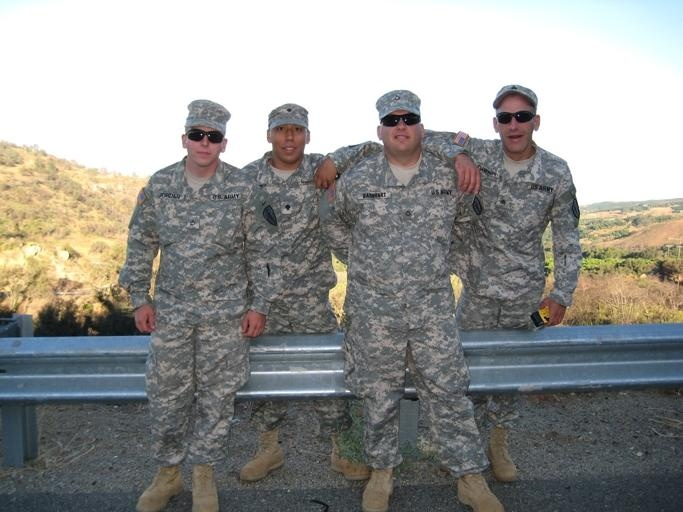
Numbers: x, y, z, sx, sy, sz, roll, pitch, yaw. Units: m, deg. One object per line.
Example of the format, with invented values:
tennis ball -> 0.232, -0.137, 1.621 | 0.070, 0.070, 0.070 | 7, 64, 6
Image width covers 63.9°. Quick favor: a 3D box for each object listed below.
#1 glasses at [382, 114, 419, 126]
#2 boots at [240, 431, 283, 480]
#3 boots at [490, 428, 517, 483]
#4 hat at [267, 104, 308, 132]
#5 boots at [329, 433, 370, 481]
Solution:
glasses -> 0.400, -0.917, 3.730 | 0.260, 0.083, 0.069 | 0, 1, 3
boots -> -0.605, 1.446, 4.078 | 0.158, 0.352, 0.376 | -3, 5, 42
boots -> 1.167, 1.462, 4.034 | 0.126, 0.152, 0.384 | -6, 25, 1
hat -> -0.386, -1.016, 3.964 | 0.279, 0.181, 0.209 | 0, 1, -9
boots -> 0.075, 1.478, 4.050 | 0.419, 0.289, 0.153 | -2, -1, 43
